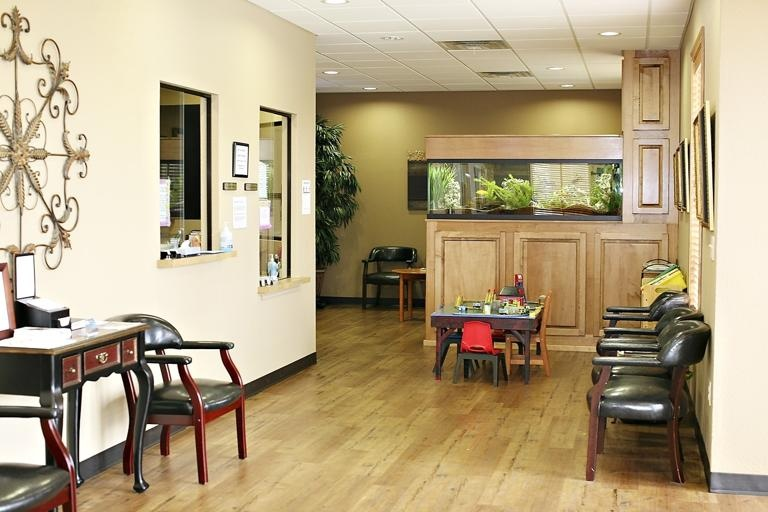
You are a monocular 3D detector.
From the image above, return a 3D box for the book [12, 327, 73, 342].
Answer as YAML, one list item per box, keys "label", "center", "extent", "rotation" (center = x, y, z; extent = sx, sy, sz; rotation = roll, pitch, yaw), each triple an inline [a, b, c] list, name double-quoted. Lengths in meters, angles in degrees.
- label: "book"
  center: [-1.992, 0.453, 3.218]
  extent: [0.288, 0.066, 0.109]
  rotation: [0, 5, -3]

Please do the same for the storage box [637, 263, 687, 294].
- label: "storage box"
  center: [3.214, 0.255, 6.343]
  extent: [0.565, 0.217, 0.349]
  rotation: [-1, 0, 1]

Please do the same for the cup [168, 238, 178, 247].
- label: "cup"
  center: [-1.886, -0.115, 4.974]
  extent: [0.071, 0.059, 0.066]
  rotation: [2, 6, 0]

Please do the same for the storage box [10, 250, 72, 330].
- label: "storage box"
  center: [-2.127, 0.227, 3.464]
  extent: [0.317, 0.407, 0.204]
  rotation: [11, 11, 8]

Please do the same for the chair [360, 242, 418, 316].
- label: "chair"
  center: [0.111, 0.421, 10.975]
  extent: [1.042, 1.134, 0.800]
  rotation: [1, 8, 7]

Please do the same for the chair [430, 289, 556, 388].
- label: "chair"
  center: [1.359, 0.952, 6.756]
  extent: [1.128, 0.682, 1.241]
  rotation: [0, -1, 22]

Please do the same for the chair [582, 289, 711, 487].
- label: "chair"
  center: [2.090, 1.050, 4.527]
  extent: [1.286, 1.452, 1.261]
  rotation: [1, -1, 11]

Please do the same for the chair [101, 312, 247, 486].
- label: "chair"
  center: [-1.595, 1.026, 4.260]
  extent: [0.925, 1.004, 0.890]
  rotation: [0, -2, 17]
